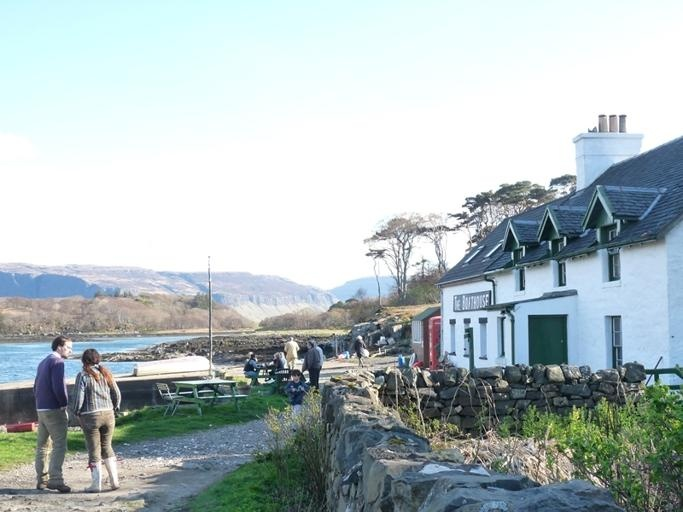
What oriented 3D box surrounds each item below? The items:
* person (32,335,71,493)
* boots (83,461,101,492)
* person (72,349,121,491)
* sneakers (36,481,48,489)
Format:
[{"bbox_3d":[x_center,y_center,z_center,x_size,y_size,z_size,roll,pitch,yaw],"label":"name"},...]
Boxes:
[{"bbox_3d":[-5.128,2.824,14.134,0.630,2.705,1.107,2,-9,-21],"label":"person"},{"bbox_3d":[-4.322,3.897,13.864,0.254,0.505,0.325,1,-9,-16],"label":"boots"},{"bbox_3d":[-4.314,2.899,13.987,0.556,2.501,0.871,-5,-9,22],"label":"person"},{"bbox_3d":[-5.180,4.006,13.754,0.172,0.107,0.101,1,2,13],"label":"sneakers"}]
